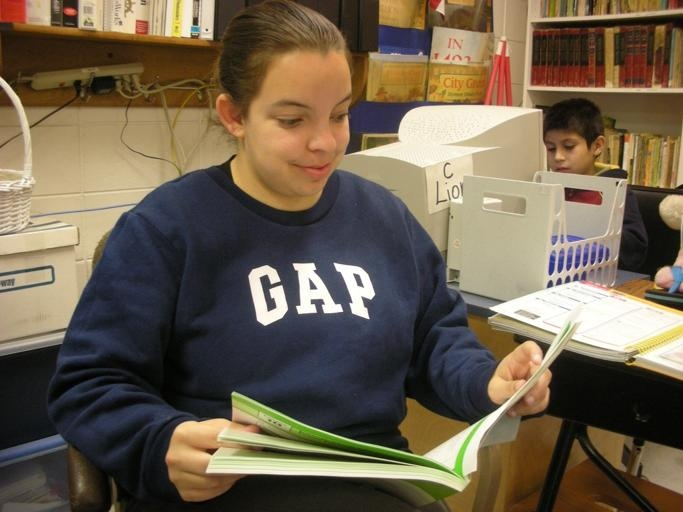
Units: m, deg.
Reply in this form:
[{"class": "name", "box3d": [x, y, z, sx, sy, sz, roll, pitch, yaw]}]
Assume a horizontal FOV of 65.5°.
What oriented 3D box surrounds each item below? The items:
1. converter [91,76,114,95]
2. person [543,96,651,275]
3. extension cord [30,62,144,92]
[{"class": "converter", "box3d": [-0.912, -0.656, 2.035, 0.061, 0.061, 0.084, 31, 43, 29]}, {"class": "person", "box3d": [1.009, -0.233, 2.232, 0.436, 0.807, 0.397, 18, 23, 37]}, {"class": "extension cord", "box3d": [-0.927, -0.719, 2.068, 0.508, 0.121, 0.113, -26, 32, -37]}]
